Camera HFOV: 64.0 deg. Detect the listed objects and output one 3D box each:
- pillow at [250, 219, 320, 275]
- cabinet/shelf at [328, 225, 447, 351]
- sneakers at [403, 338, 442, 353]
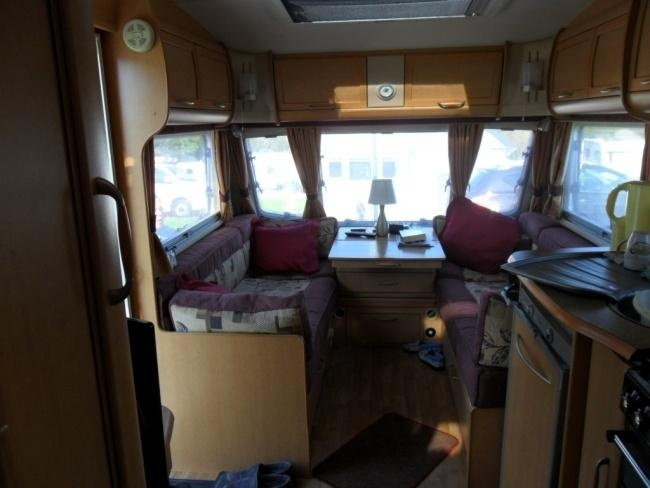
[{"bbox_3d":[-0.319,0.045,4.169,0.359,0.353,0.149,-1,-8,7],"label":"pillow"},{"bbox_3d":[0.497,0.226,4.094,0.784,0.874,0.743,0,17,6],"label":"cabinet/shelf"},{"bbox_3d":[0.719,0.760,3.894,0.207,0.079,0.121,1,13,4],"label":"sneakers"}]
